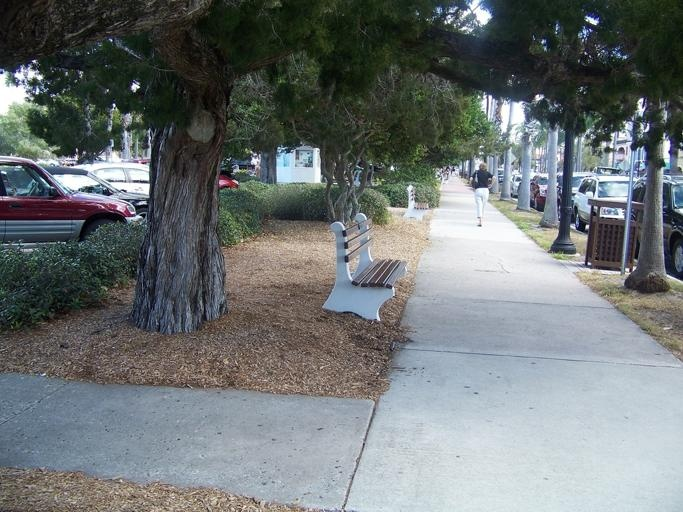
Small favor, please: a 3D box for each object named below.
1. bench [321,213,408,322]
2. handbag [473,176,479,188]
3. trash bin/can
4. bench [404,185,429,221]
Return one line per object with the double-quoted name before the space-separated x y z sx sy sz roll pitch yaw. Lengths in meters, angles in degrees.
"bench" 0.277 -0.320 7.424 1.205 1.465 2.183 2 10 11
"handbag" 4.761 -2.625 18.355 0.186 0.485 0.875 4 10 12
"trash bin/can" 6.020 -0.481 11.506 1.041 1.546 1.453 8 12 31
"bench" 3.129 -2.235 22.041 0.819 1.208 1.901 0 15 6
